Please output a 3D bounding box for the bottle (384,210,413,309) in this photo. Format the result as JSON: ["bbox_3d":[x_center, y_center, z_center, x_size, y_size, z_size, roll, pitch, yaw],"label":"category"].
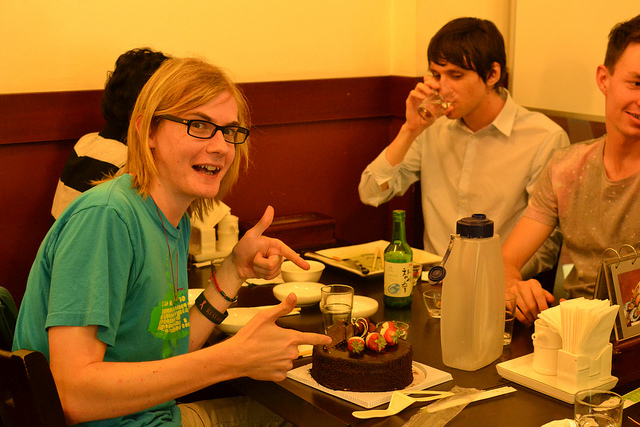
[{"bbox_3d":[0.311,0.180,1.909,0.116,0.386,0.178,-2,3,9],"label":"bottle"}]

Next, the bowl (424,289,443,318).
[{"bbox_3d":[0.439,0.341,1.853,0.113,0.086,0.112,-1,-14,0],"label":"bowl"}]

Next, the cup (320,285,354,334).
[{"bbox_3d":[0.062,0.350,1.676,0.123,0.189,0.124,1,-8,0],"label":"cup"}]

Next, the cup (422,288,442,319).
[{"bbox_3d":[0.431,0.333,1.810,0.100,0.082,0.103,0,3,0],"label":"cup"}]

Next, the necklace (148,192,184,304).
[{"bbox_3d":[-0.458,0.097,1.418,0.103,0.339,0.026,-9,4,-18],"label":"necklace"}]

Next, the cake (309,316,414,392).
[{"bbox_3d":[0.136,0.417,1.481,0.317,0.191,0.309,2,-3,-23],"label":"cake"}]

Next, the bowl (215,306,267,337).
[{"bbox_3d":[-0.289,0.386,1.751,0.187,0.055,0.183,-1,14,0],"label":"bowl"}]

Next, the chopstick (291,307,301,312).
[{"bbox_3d":[-0.088,0.374,1.881,0.027,0.011,0.045,-2,2,8],"label":"chopstick"}]

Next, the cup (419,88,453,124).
[{"bbox_3d":[0.585,-0.551,2.426,0.128,0.132,0.087,41,-10,35],"label":"cup"}]

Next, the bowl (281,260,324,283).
[{"bbox_3d":[-0.087,0.251,2.123,0.144,0.056,0.145,-1,2,0],"label":"bowl"}]

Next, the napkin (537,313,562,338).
[{"bbox_3d":[0.666,0.319,1.383,0.017,0.059,0.074,-4,3,-30],"label":"napkin"}]
